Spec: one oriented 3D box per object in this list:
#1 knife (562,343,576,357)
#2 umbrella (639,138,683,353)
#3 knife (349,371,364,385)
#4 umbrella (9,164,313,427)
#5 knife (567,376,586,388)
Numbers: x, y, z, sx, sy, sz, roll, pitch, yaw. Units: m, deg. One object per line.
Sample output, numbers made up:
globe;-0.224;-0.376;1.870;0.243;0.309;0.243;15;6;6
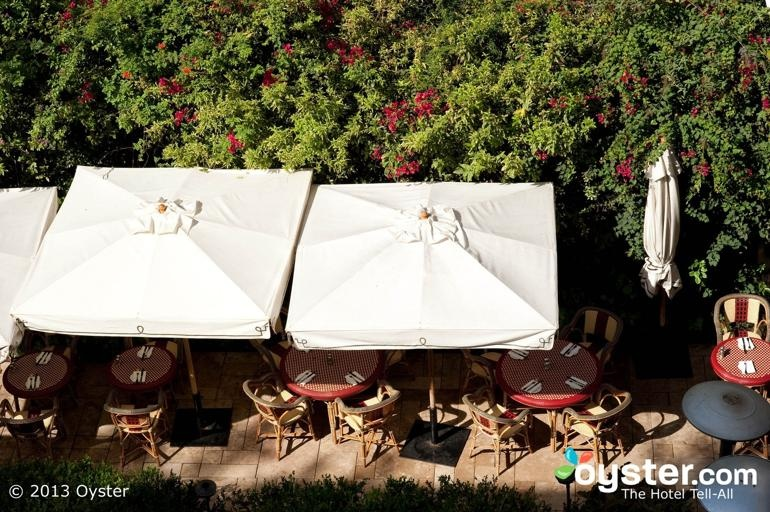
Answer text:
knife;2.956;1.516;11.190;0.281;0.049;0.168;-32;44;-24
umbrella;4.412;-0.470;11.096;0.578;2.327;0.832;-5;38;6
knife;-0.473;1.924;11.044;0.163;0.043;0.174;-14;41;-17
umbrella;-3.277;0.469;12.007;3.307;4.071;3.722;2;59;5
knife;2.923;1.948;10.725;0.226;0.025;0.282;-36;46;-28
